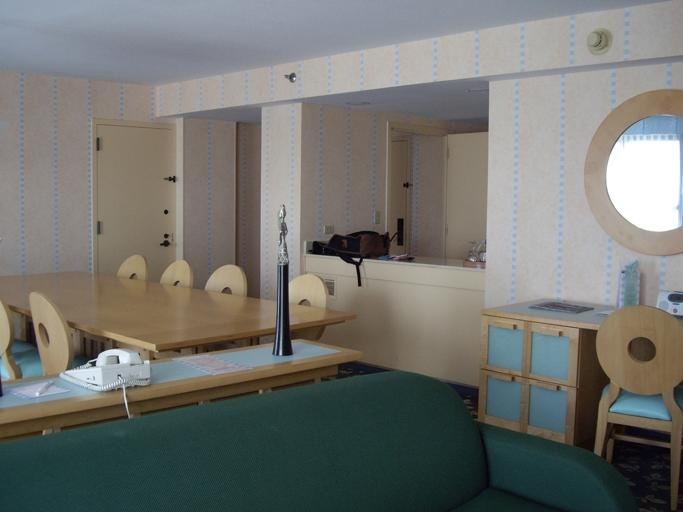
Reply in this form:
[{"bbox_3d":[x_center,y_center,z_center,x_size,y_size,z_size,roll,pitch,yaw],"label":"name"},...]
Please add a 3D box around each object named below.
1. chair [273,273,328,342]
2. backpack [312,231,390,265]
[{"bbox_3d":[-0.255,0.315,3.591,0.361,0.539,0.361,0,-2,33],"label":"chair"},{"bbox_3d":[0.062,-0.083,5.468,0.391,0.212,0.494,-4,1,-42],"label":"backpack"}]
